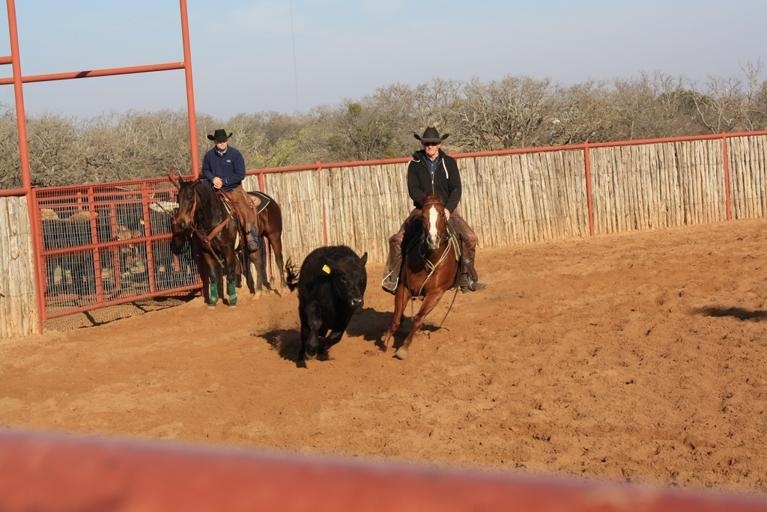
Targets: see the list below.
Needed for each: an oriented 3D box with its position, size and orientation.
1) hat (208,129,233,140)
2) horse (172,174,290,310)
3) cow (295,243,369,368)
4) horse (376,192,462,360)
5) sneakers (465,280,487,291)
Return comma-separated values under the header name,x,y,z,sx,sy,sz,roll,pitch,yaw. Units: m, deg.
name,x,y,z,sx,sy,sz,roll,pitch,yaw
hat,-3.845,-2.813,14.091,0.446,0.274,0.538,-9,14,-17
horse,-3.668,-0.331,14.664,1.146,3.054,4.504,0,5,15
cow,-0.837,0.917,9.822,0.942,1.946,1.674,-15,17,-38
horse,0.614,0.337,10.386,1.571,2.784,1.626,-5,13,-2
sneakers,2.026,0.652,13.324,0.469,0.203,0.155,-12,17,-20
